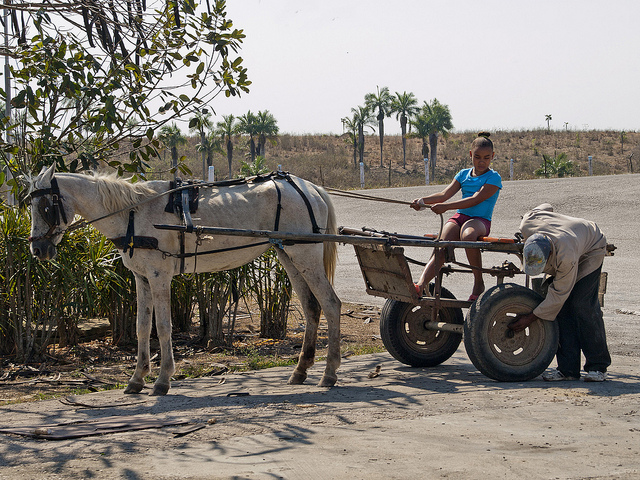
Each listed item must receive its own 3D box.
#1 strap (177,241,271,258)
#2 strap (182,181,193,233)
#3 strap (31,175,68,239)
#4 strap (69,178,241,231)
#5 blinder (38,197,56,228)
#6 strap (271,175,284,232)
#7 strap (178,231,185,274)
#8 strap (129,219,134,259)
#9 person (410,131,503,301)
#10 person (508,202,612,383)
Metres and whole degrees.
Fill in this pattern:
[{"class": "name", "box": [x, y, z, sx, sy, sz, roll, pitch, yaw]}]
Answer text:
[{"class": "strap", "box": [-1.262, 0.105, 12.927, 0.951, 0.103, 0.095, -5, 30, -19]}, {"class": "strap", "box": [-1.574, -0.395, 12.586, 0.120, 0.628, 0.243, -1, -21, -16]}, {"class": "strap", "box": [-3.262, -0.413, 12.538, 0.310, 0.671, 0.372, -18, 53, -39]}, {"class": "strap", "box": [-2.076, -0.426, 12.691, 1.667, 0.232, 0.185, -15, 37, 2]}, {"class": "blinder", "box": [-3.282, -0.340, 12.376, 0.186, 0.355, 0.084, 1, 10, 12]}, {"class": "strap", "box": [-0.550, -0.421, 13.195, 0.096, 0.501, 0.078, 7, -2, 16]}, {"class": "strap", "box": [-1.709, 0.150, 12.748, 0.081, 0.545, 0.097, -3, 10, -8]}, {"class": "strap", "box": [-2.289, -0.020, 12.500, 0.075, 0.459, 0.147, -3, 10, -9]}, {"class": "person", "box": [1.806, -0.266, 13.336, 1.051, 2.241, 1.553, 0, 9, 10]}, {"class": "person", "box": [2.986, 0.701, 12.559, 1.101, 2.039, 0.926, 1, 10, 14]}]
